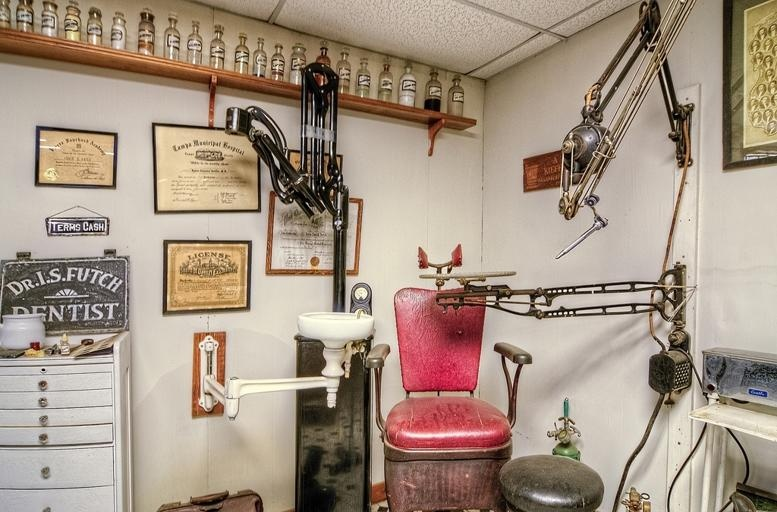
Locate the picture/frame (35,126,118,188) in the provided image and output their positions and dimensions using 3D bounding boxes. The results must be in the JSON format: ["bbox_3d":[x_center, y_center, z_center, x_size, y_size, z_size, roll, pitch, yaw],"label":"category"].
[{"bbox_3d":[-2.096,-0.660,4.186,0.417,0.363,0.035,1,-2,-19],"label":"picture/frame"}]

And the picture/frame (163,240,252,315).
[{"bbox_3d":[-1.308,0.154,4.455,0.529,0.468,0.041,0,-1,-20],"label":"picture/frame"}]

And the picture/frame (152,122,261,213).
[{"bbox_3d":[-1.303,-0.632,4.403,0.653,0.554,0.049,0,2,-26],"label":"picture/frame"}]

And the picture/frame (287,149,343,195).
[{"bbox_3d":[-0.567,-0.626,4.689,0.380,0.259,0.207,1,-3,-9],"label":"picture/frame"}]

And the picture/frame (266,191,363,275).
[{"bbox_3d":[-0.578,-0.171,4.646,0.622,0.541,0.052,3,-3,-28],"label":"picture/frame"}]
